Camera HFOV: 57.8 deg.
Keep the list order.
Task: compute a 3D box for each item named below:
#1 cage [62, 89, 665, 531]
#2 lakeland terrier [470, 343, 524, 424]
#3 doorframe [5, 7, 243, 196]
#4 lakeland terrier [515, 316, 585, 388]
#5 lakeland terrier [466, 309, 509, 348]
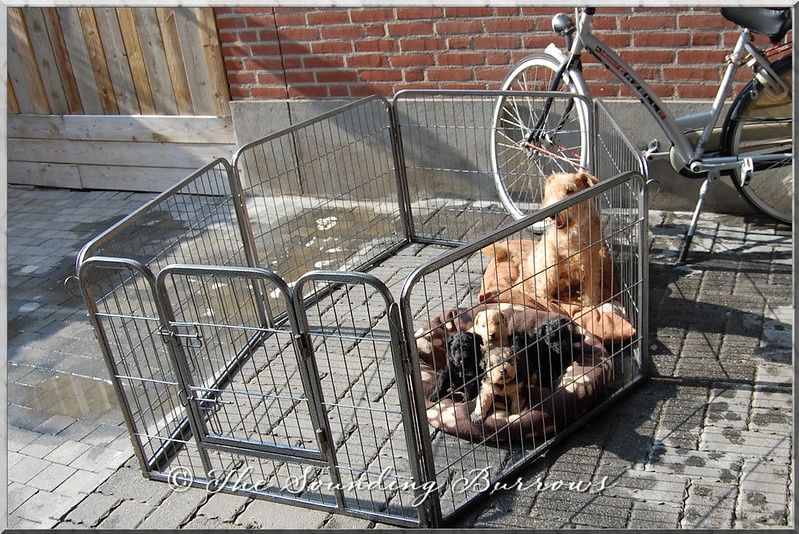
[{"bbox_3d":[0.001,0.193,6.072,3.530,2.080,4.290,7,29,25],"label":"cage"},{"bbox_3d":[0.679,0.715,4.875,0.449,0.407,0.853,-3,2,15],"label":"lakeland terrier"},{"bbox_3d":[-3.066,-1.965,8.269,2.807,2.011,0.123,4,27,7],"label":"doorframe"},{"bbox_3d":[1.046,0.669,5.051,0.305,0.542,0.597,-5,-23,12],"label":"lakeland terrier"},{"bbox_3d":[0.598,0.396,4.701,0.181,0.178,0.286,-6,7,4],"label":"lakeland terrier"}]
